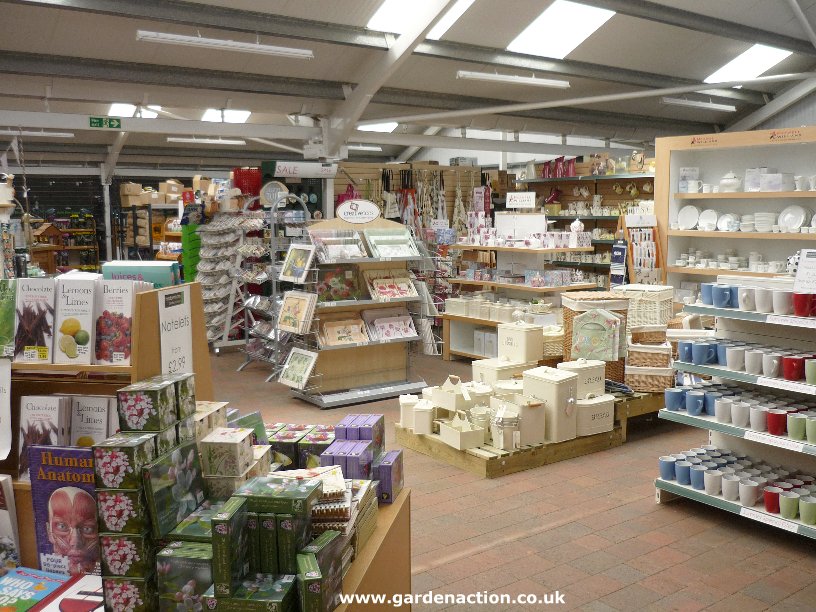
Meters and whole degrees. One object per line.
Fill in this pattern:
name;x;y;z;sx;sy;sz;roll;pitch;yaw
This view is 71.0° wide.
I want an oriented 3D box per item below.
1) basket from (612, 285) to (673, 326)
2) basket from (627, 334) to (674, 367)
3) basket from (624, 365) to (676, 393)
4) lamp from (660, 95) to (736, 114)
basket;2.361;-0.033;5.738;0.477;0.352;0.577;-7;9;-36
basket;2.327;0.434;5.485;0.346;0.159;0.294;0;1;-14
basket;2.360;0.670;5.530;0.367;0.172;0.336;-1;1;-39
lamp;6.836;-4.756;13.402;2.703;0.327;0.242;-1;11;-23
